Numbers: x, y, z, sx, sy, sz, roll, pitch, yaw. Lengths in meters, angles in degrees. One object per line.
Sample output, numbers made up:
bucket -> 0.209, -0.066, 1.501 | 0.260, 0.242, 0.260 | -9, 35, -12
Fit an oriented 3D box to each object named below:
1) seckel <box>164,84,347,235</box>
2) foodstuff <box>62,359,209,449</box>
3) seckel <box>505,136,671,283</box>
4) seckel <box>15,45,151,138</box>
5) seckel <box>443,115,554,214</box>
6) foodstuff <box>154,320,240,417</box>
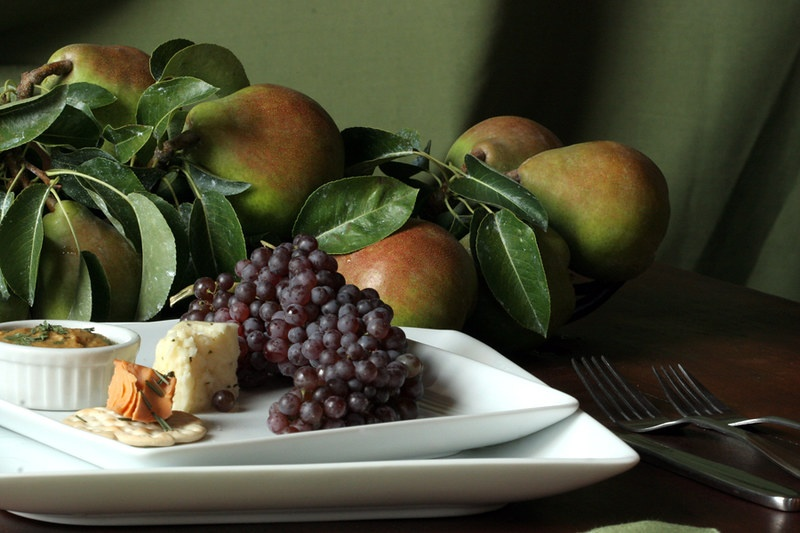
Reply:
seckel -> -0.177, -0.135, 1.036 | 0.173, 0.229, 0.170 | -9, 78, 34
foodstuff -> -0.224, 0.100, 0.737 | 0.089, 0.039, 0.080 | 13, 11, 30
seckel -> 0.267, -0.105, 1.127 | 0.244, 0.166, 0.185 | 8, 21, 19
seckel -> -0.362, -0.229, 1.030 | 0.139, 0.062, 0.153 | 3, 49, 3
seckel -> 0.136, -0.161, 1.194 | 0.129, 0.095, 0.163 | 12, 17, 33
foodstuff -> -0.190, 0.097, 0.831 | 0.085, 0.080, 0.083 | -1, -1, 21
